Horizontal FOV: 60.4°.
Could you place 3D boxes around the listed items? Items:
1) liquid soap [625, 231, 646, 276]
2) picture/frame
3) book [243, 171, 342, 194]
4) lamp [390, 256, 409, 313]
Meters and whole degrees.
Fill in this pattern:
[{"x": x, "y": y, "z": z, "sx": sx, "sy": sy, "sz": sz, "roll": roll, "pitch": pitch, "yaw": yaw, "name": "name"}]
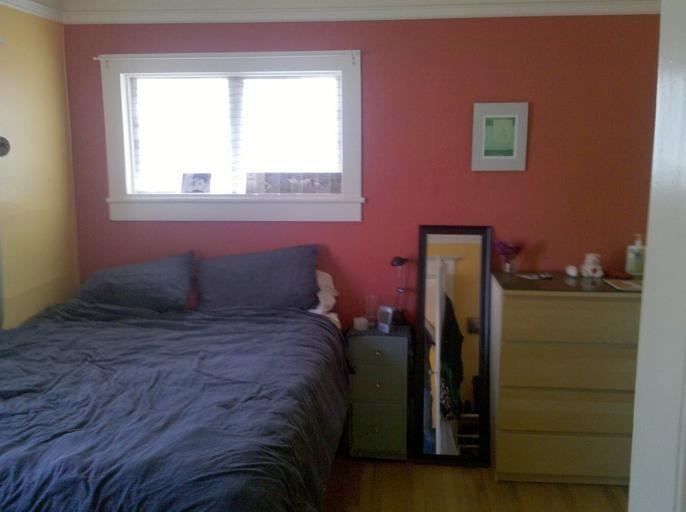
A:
[{"x": 1.762, "y": -0.012, "z": 3.563, "sx": 0.099, "sy": 0.241, "sz": 0.238, "roll": 6, "pitch": 11, "yaw": 24, "name": "liquid soap"}, {"x": 0.972, "y": -0.739, "z": 3.604, "sx": 0.386, "sy": 0.513, "sz": 0.037, "roll": 1, "pitch": 3, "yaw": 4, "name": "picture/frame"}, {"x": -0.320, "y": -0.470, "z": 3.838, "sx": 0.619, "sy": 0.148, "sz": 0.037, "roll": 3, "pitch": 10, "yaw": 7, "name": "book"}, {"x": 0.359, "y": 0.180, "z": 3.716, "sx": 0.108, "sy": 0.349, "sz": 0.155, "roll": 2, "pitch": 10, "yaw": 7, "name": "lamp"}]
